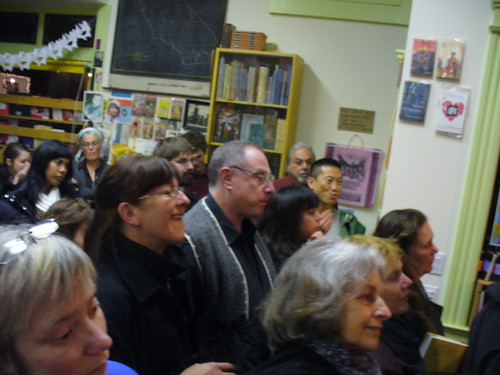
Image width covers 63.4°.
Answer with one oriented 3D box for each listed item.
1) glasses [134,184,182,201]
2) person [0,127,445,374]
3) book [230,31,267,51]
[{"bbox_3d":[-0.390,0.027,1.817,0.206,0.057,0.053,0,10,-44],"label":"glasses"},{"bbox_3d":[-0.067,0.295,2.203,1.505,1.376,0.376,5,-34,3],"label":"person"},{"bbox_3d":[-0.027,-1.822,5.044,0.306,0.113,0.311,5,10,7],"label":"book"}]
